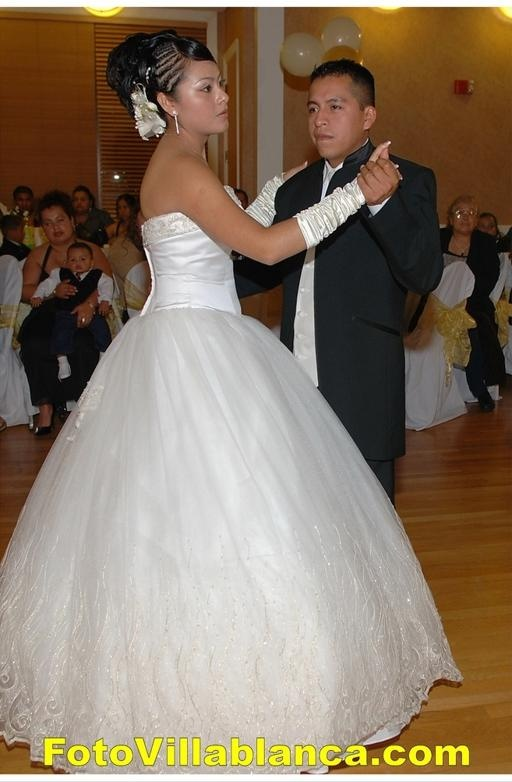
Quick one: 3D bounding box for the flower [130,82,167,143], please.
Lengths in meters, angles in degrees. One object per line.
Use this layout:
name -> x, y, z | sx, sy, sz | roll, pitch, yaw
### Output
flower -> -0.213, -0.578, 1.197 | 0.049, 0.094, 0.089 | -2, 29, -7

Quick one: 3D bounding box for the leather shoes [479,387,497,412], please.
leather shoes -> 1.845, 0.076, 4.609 | 0.056, 0.176, 0.124 | -8, 36, 6

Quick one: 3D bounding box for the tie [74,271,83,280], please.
tie -> -1.305, -0.842, 4.234 | 0.044, 0.065, 0.023 | -1, 0, -9
